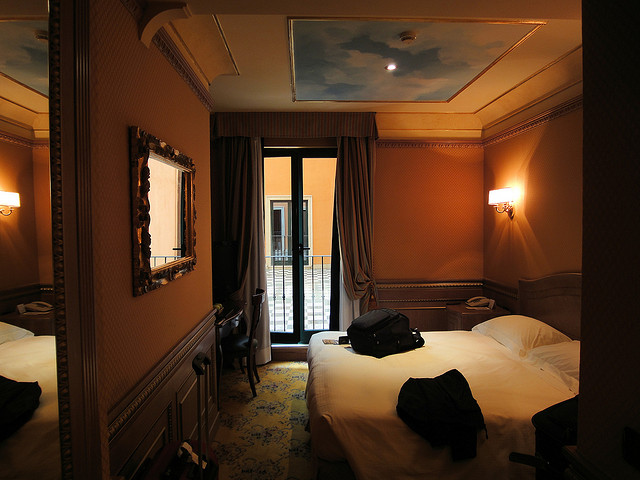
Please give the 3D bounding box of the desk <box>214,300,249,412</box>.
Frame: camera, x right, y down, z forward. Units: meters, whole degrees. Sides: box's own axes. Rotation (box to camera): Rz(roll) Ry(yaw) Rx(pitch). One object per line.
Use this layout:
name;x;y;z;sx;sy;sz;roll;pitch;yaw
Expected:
desk;-0.788;1.030;4.076;0.324;0.571;0.780;-2;6;-5

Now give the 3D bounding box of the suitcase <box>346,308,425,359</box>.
suitcase;0.508;0.733;3.665;0.448;0.244;0.330;2;-5;-32

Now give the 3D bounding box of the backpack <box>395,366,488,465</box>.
backpack;0.699;1.060;2.785;0.518;0.279;0.511;0;15;3

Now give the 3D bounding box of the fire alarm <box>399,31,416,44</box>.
fire alarm;0.585;-1.357;3.091;0.103;0.057;0.144;2;15;10
